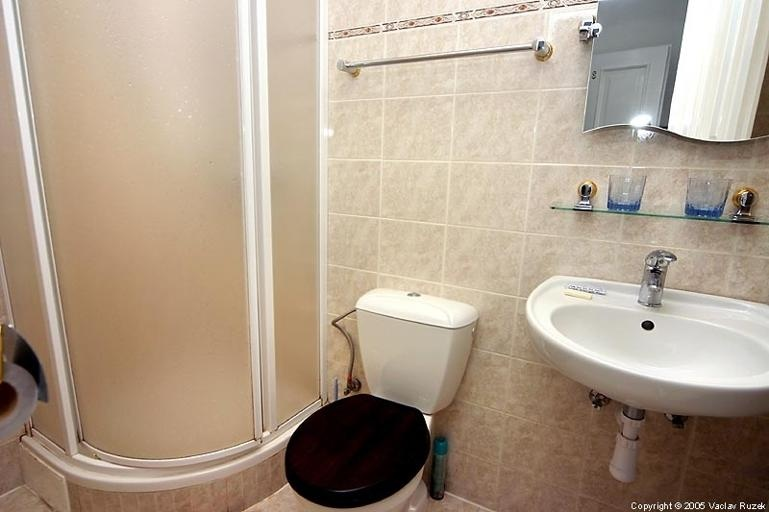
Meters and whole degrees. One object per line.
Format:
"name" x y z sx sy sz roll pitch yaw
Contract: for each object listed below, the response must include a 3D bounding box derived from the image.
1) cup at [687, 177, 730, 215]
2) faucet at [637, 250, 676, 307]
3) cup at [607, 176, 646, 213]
"cup" 1.153 -0.212 1.927 0.141 0.135 0.109 9 18 21
"faucet" 1.005 0.087 1.987 0.110 0.228 0.111 -7 27 -12
"cup" 0.881 -0.231 2.047 0.138 0.154 0.138 -1 6 0
